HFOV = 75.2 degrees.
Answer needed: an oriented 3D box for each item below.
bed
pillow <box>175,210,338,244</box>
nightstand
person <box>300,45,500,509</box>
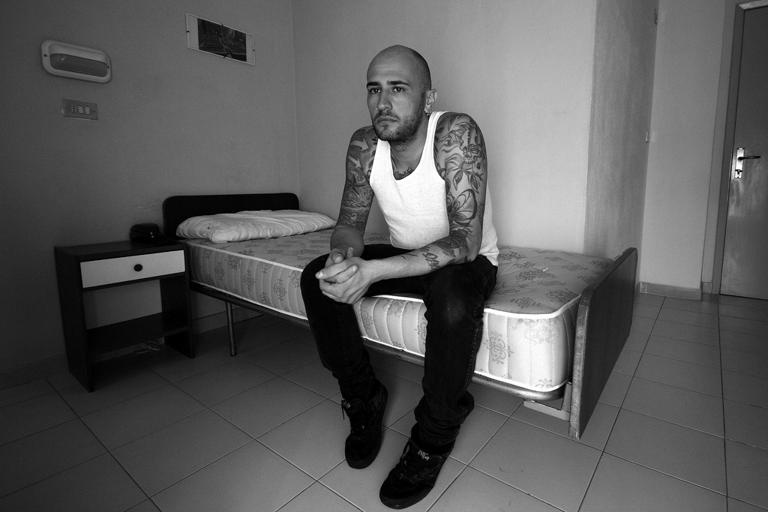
[{"bbox_3d":[0.060,0.293,3.055,2.347,0.953,1.298,11,22,34],"label":"bed"},{"bbox_3d":[-0.877,-0.219,3.571,0.419,0.137,0.659,8,11,43],"label":"pillow"},{"bbox_3d":[-1.665,0.327,3.272,0.417,0.798,0.676,12,16,43],"label":"nightstand"},{"bbox_3d":[0.042,0.037,2.468,0.900,2.059,0.914,4,18,23],"label":"person"}]
